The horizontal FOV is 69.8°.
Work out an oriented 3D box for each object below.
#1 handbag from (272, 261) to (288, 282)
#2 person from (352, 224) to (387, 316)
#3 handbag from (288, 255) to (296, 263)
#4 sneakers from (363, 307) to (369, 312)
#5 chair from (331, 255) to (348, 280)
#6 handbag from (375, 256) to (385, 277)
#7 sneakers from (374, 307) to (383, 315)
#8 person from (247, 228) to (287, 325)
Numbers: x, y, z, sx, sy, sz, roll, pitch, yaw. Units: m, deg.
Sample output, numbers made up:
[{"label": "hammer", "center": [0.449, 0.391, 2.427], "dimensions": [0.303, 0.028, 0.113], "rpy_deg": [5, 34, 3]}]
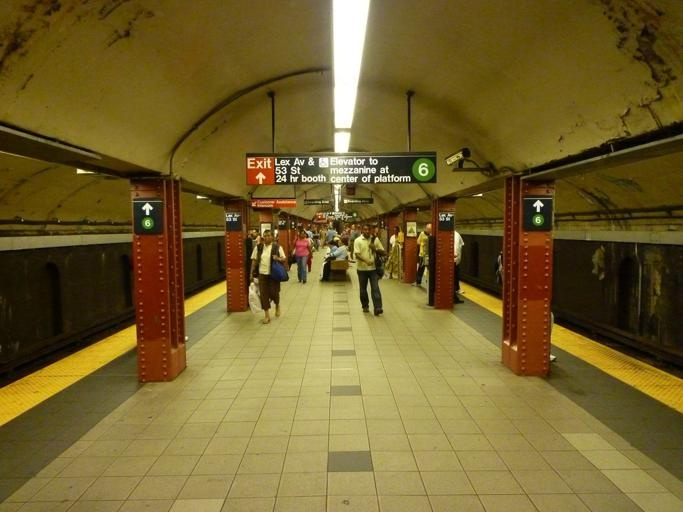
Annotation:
[{"label": "handbag", "center": [-1.282, 0.333, 9.967], "dimensions": [0.313, 0.513, 0.535], "rpy_deg": [-3, 13, -9]}, {"label": "person", "center": [0.630, 0.290, 10.875], "dimensions": [0.702, 2.045, 0.869], "rpy_deg": [-1, -2, -32]}, {"label": "handbag", "center": [-1.908, 0.154, 18.748], "dimensions": [0.338, 0.328, 0.342], "rpy_deg": [0, 1, 1]}, {"label": "sneakers", "center": [0.544, 1.246, 11.249], "dimensions": [0.094, 0.093, 0.221], "rpy_deg": [0, -7, -1]}, {"label": "chair", "center": [-0.082, 0.496, 17.106], "dimensions": [0.575, 0.645, 1.475], "rpy_deg": [1, 0, 2]}, {"label": "handbag", "center": [0.849, 0.240, 10.904], "dimensions": [0.158, 0.418, 0.296], "rpy_deg": [1, -10, 8]}, {"label": "sneakers", "center": [0.816, 1.230, 10.892], "dimensions": [0.190, 0.200, 0.270], "rpy_deg": [1, 13, 7]}, {"label": "person", "center": [-1.521, 0.458, 10.209], "dimensions": [0.723, 2.042, 1.028], "rpy_deg": [-3, 13, -8]}]
